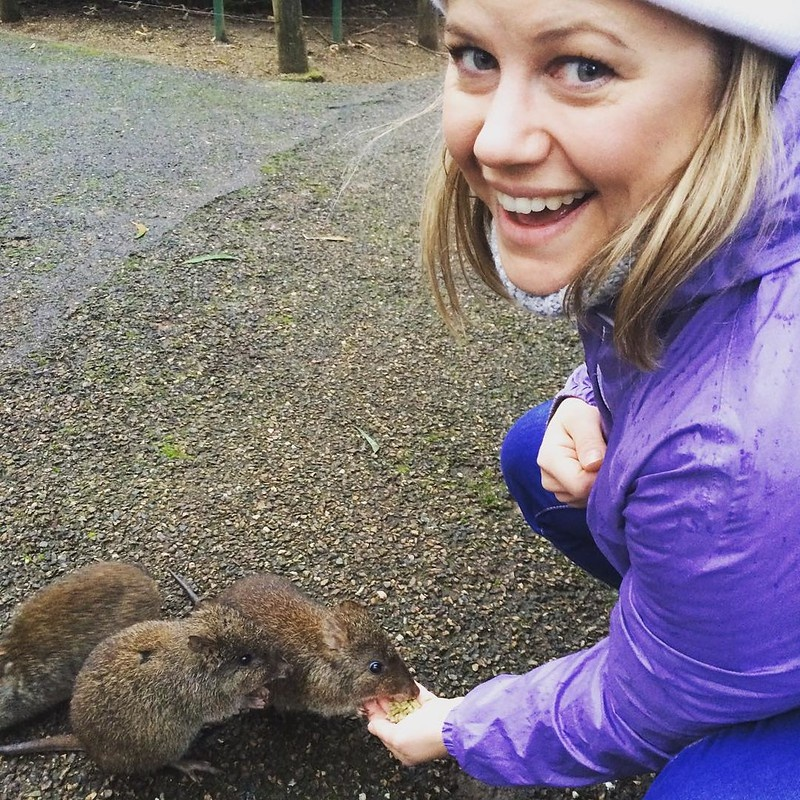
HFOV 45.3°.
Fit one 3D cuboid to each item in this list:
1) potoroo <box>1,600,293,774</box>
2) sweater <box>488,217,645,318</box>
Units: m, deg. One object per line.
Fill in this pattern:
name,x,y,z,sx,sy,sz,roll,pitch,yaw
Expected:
potoroo,-0.709,0.891,3.036,0.518,0.242,0.631,18,34,19
sweater,0.361,-0.253,1.963,0.275,0.098,0.236,-3,6,-38
